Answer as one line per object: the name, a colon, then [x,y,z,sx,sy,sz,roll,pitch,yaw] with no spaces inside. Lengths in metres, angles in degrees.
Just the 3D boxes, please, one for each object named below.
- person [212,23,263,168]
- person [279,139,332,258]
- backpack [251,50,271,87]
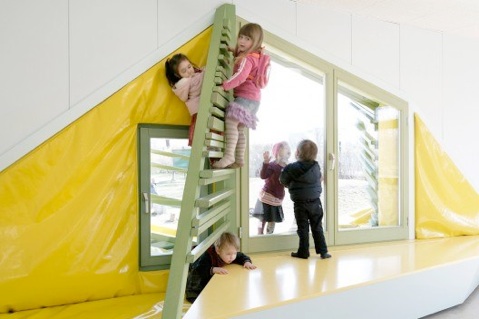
person: [0.025,-0.544,3.550,0.352,1.193,0.372,6,13,20]
person: [0.633,0.374,4.089,0.398,1.081,0.488,-3,13,-19]
backpack: [0.180,-0.778,3.577,0.137,0.313,0.091,1,12,1]
